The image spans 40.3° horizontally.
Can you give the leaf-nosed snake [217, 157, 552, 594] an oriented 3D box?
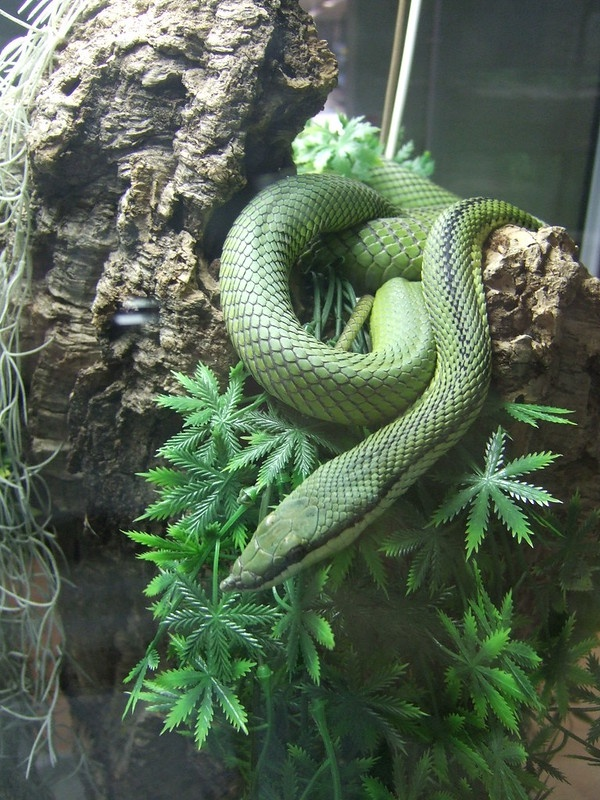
[{"bbox_3d":[0.161,-0.153,2.084,0.767,1.201,0.273,22,-26,15],"label":"leaf-nosed snake"}]
